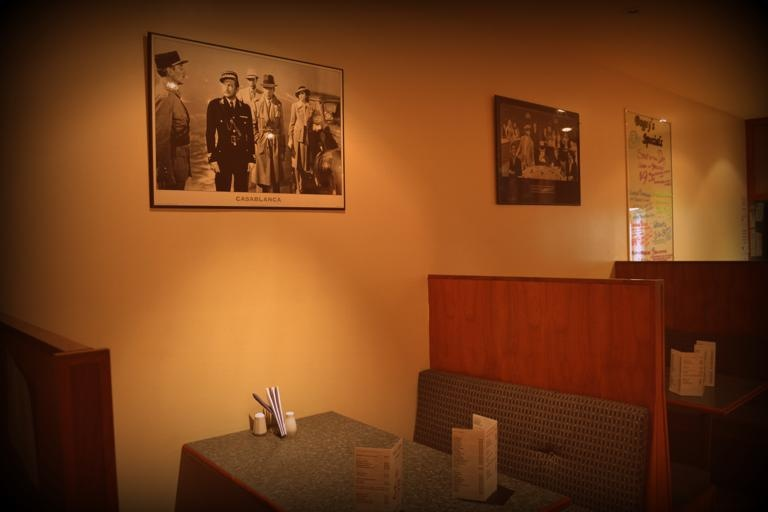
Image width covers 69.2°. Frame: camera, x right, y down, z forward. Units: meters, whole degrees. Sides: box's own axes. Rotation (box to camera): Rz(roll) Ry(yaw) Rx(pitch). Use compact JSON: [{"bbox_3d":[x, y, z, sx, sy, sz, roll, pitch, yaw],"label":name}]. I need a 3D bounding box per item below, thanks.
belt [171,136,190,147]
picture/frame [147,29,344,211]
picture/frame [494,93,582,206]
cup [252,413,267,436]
[{"bbox_3d":[-1.029,-0.572,2.804,0.063,0.047,0.063,-5,15,-26],"label":"belt"},{"bbox_3d":[-0.693,-0.672,3.012,0.015,0.820,1.160,3,6,44],"label":"picture/frame"},{"bbox_3d":[1.100,-0.775,4.094,0.936,0.665,0.032,2,-4,-40],"label":"picture/frame"},{"bbox_3d":[-0.639,0.870,2.856,0.076,0.090,0.097,1,-4,-18],"label":"cup"}]
